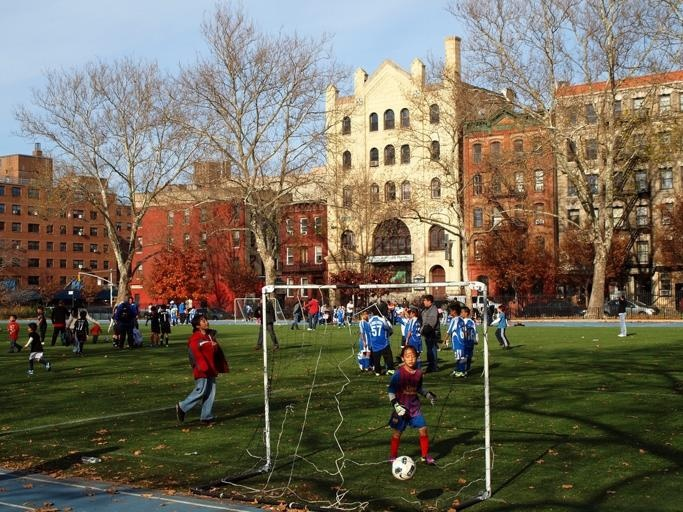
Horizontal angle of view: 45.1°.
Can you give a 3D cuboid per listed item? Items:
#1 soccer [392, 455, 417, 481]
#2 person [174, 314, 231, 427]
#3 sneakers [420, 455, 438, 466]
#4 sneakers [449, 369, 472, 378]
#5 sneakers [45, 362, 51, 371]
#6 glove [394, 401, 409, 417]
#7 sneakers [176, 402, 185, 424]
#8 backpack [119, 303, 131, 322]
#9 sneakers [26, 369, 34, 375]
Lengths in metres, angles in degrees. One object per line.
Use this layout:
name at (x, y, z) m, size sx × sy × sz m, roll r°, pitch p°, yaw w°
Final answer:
soccer at (1.152, 3.793, 14.652) m, size 0.382 × 0.494 × 0.426 m, roll -7°, pitch -12°, yaw 21°
person at (-3.156, 2.594, 18.794) m, size 1.093 × 2.437 × 0.552 m, roll -1°, pitch -4°, yaw -12°
sneakers at (1.618, 3.925, 15.706) m, size 0.154 × 0.156 × 0.323 m, roll 3°, pitch -10°, yaw -41°
sneakers at (3.535, 3.483, 24.073) m, size 0.602 × 0.300 × 0.233 m, roll 6°, pitch -2°, yaw 5°
sneakers at (-9.860, 3.729, 27.467) m, size 0.222 × 0.299 × 0.625 m, roll 3°, pitch -12°, yaw -12°
glove at (1.131, 2.898, 15.423) m, size 0.106 × 0.150 × 0.264 m, roll -19°, pitch 43°, yaw -15°
sneakers at (-3.658, 3.582, 18.600) m, size 0.205 × 0.520 × 0.183 m, roll -1°, pitch -2°, yaw 14°
backpack at (-9.016, 2.368, 34.418) m, size 0.469 × 0.802 × 0.990 m, roll -1°, pitch -4°, yaw -14°
sneakers at (-10.105, 3.802, 26.693) m, size 0.155 × 0.191 × 0.415 m, roll 1°, pitch -2°, yaw -28°
